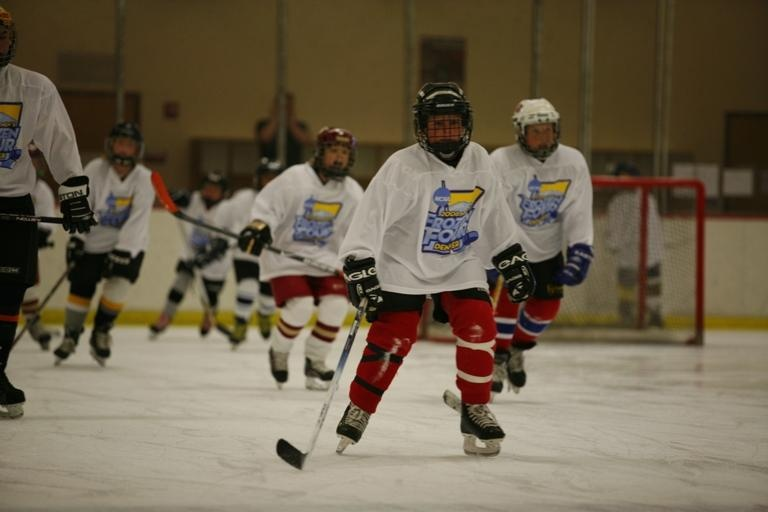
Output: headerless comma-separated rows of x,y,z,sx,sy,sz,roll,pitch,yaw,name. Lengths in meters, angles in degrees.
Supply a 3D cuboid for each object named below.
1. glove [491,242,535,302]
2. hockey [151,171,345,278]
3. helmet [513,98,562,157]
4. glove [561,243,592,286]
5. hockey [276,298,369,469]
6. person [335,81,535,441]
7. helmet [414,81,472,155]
0.748,0.106,4.975,0.221,0.314,0.135,-34,-11,9,glove
-0.891,-0.186,6.086,1.510,0.347,0.120,17,-18,-32,hockey
0.967,-0.831,5.786,0.280,0.361,0.358,-5,14,-7,helmet
1.208,0.053,5.638,0.159,0.262,0.143,5,13,24,glove
-0.290,0.649,4.905,0.195,0.027,1.183,29,47,-3,hockey
0.280,0.058,4.751,1.005,1.887,0.603,2,12,9,person
0.315,-0.740,4.957,0.318,0.413,0.425,-4,2,-7,helmet
